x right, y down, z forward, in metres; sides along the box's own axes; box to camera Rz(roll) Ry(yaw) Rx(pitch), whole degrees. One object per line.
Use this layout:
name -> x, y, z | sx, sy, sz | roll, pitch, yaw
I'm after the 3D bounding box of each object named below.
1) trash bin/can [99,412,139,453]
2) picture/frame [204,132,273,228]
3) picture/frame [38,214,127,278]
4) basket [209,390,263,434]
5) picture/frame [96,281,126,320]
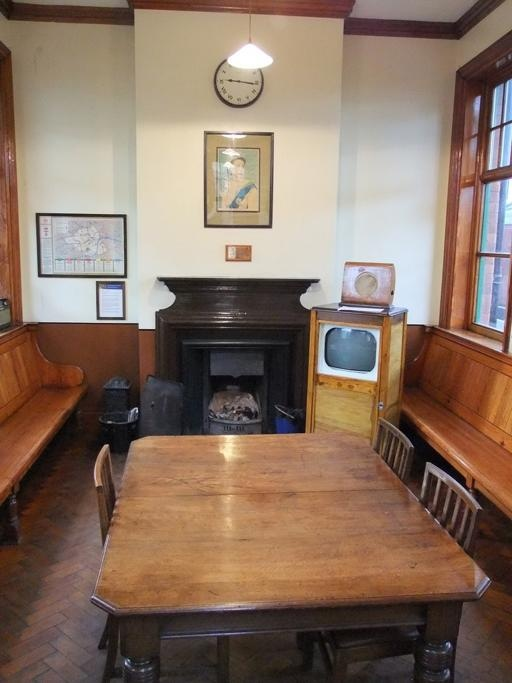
trash bin/can -> -1.083, 0.699, 4.173 | 0.301, 0.240, 0.329 | 0, 9, -9
picture/frame -> -0.155, -1.235, 3.969 | 0.724, 0.911, 0.038 | 0, 14, 0
picture/frame -> -1.451, -0.802, 4.354 | 0.545, 0.389, 0.021 | 0, 6, -4
basket -> -0.185, 0.587, 4.449 | 0.448, 0.341, 0.366 | 1, 8, -5
picture/frame -> -1.218, -0.357, 4.429 | 0.323, 0.413, 0.041 | 0, 6, -7
